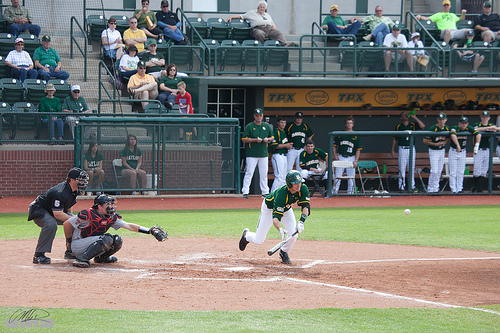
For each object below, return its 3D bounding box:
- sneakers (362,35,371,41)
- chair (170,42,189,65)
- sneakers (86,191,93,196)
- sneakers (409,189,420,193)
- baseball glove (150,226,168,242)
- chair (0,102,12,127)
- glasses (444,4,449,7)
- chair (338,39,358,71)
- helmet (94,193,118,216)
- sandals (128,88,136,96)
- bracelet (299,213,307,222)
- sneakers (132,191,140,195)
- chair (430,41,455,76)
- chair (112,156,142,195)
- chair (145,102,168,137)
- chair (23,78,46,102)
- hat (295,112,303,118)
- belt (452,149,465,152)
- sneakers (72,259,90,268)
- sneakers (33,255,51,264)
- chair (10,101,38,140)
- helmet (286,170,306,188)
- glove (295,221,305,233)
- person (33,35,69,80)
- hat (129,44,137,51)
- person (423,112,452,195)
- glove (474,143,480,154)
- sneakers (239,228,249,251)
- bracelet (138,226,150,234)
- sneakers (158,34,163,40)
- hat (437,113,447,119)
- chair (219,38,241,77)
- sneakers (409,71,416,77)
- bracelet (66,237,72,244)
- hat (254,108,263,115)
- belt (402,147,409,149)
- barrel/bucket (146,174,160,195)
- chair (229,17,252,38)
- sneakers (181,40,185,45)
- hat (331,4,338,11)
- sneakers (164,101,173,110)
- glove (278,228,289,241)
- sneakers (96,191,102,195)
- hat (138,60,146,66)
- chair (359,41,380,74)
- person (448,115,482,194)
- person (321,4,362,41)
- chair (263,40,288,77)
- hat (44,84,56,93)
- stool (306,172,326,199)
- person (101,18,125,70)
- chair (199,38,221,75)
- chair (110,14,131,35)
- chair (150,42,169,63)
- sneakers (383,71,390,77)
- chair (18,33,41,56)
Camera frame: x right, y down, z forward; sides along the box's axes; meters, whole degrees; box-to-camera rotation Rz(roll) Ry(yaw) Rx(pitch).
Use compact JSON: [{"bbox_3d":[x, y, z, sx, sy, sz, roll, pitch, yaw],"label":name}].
[{"bbox_3d":[4.160,-4.571,36.081,0.308,0.218,0.417,-1,9,-5],"label":"sneakers"},{"bbox_3d":[-2.296,-3.796,34.104,0.635,0.794,0.595,0,40,-5],"label":"chair"},{"bbox_3d":[-4.940,0.809,31.378,0.120,0.104,0.116,-2,-6,39],"label":"sneakers"},{"bbox_3d":[5.417,0.763,33.394,0.211,0.126,0.340,2,9,15],"label":"sneakers"},{"bbox_3d":[-2.216,1.615,24.970,0.410,0.182,0.307,39,-21,-13],"label":"baseball glove"},{"bbox_3d":[-7.498,-1.617,31.487,0.374,0.713,0.422,-3,10,-15],"label":"chair"},{"bbox_3d":[7.154,-5.889,37.211,0.221,0.104,0.274,1,9,4],"label":"glasses"},{"bbox_3d":[3.344,-3.820,34.920,0.973,1.168,0.917,1,20,4],"label":"chair"},{"bbox_3d":[-3.444,0.887,24.639,0.587,0.455,0.427,-2,2,1],"label":"helmet"},{"bbox_3d":[-3.777,-2.434,32.751,0.231,0.264,0.647,0,4,-5],"label":"sandals"},{"bbox_3d":[1.297,1.267,25.044,0.178,0.265,0.411,0,9,2],"label":"bracelet"},{"bbox_3d":[-3.548,0.805,31.774,0.211,0.075,0.141,-14,-34,3],"label":"sneakers"},{"bbox_3d":[6.667,-3.768,35.423,0.841,1.188,2.395,2,9,10],"label":"chair"},{"bbox_3d":[-3.622,0.163,31.338,0.878,1.260,0.976,-1,3,-12],"label":"chair"},{"bbox_3d":[-2.960,-1.546,32.230,0.922,0.978,1.159,-4,10,-21],"label":"chair"},{"bbox_3d":[-6.850,-2.405,32.417,0.842,0.916,0.717,1,-2,-29],"label":"chair"},{"bbox_3d":[1.588,-1.698,33.211,0.240,0.169,0.378,0,9,-1],"label":"hat"},{"bbox_3d":[6.709,-0.546,33.095,0.452,0.139,0.156,2,9,9],"label":"belt"},{"bbox_3d":[-4.060,2.332,24.696,0.475,0.151,0.232,8,17,6],"label":"sneakers"},{"bbox_3d":[-5.052,2.246,24.800,0.428,0.164,0.187,0,2,9],"label":"sneakers"},{"bbox_3d":[-6.977,-1.545,31.920,1.068,1.294,1.059,1,3,-25],"label":"chair"},{"bbox_3d":[1.064,0.269,24.893,0.463,0.311,0.338,12,9,27],"label":"helmet"},{"bbox_3d":[1.213,1.447,24.954,0.145,0.315,0.235,0,9,-1],"label":"glove"},{"bbox_3d":[-6.446,-3.464,33.058,1.004,1.478,1.200,-4,23,-29],"label":"person"},{"bbox_3d":[-3.839,-3.940,33.696,0.206,0.236,0.259,1,-7,-31],"label":"hat"},{"bbox_3d":[6.078,-0.452,33.286,0.727,2.536,0.559,4,11,22],"label":"person"},{"bbox_3d":[7.325,-0.603,33.037,0.123,0.098,0.395,-12,-37,10],"label":"glove"},{"bbox_3d":[-0.182,1.825,25.707,0.210,0.560,0.233,1,22,-15],"label":"sneakers"},{"bbox_3d":[-2.578,1.527,24.949,0.267,0.141,0.107,13,-8,6],"label":"bracelet"},{"bbox_3d":[-3.032,-4.461,34.941,0.106,0.170,0.171,5,0,21],"label":"sneakers"},{"bbox_3d":[6.257,-1.664,33.358,0.256,0.183,0.325,2,3,14],"label":"hat"},{"bbox_3d":[-0.652,-3.818,34.464,0.871,1.018,1.075,0,1,-4],"label":"chair"},{"bbox_3d":[5.484,-3.119,34.503,0.107,0.186,0.272,2,15,0],"label":"sneakers"},{"bbox_3d":[-4.426,1.786,24.998,0.143,0.099,0.135,3,5,0],"label":"bracelet"},{"bbox_3d":[0.271,-1.747,32.088,0.216,0.163,0.286,1,-3,-2],"label":"hat"},{"bbox_3d":[5.075,-0.624,33.417,0.219,0.101,0.057,0,10,0],"label":"belt"},{"bbox_3d":[-3.081,0.557,31.822,0.583,0.738,0.557,0,1,0],"label":"barrel/bucket"},{"bbox_3d":[-0.372,-4.871,36.099,0.838,0.922,0.839,0,1,-12],"label":"chair"},{"bbox_3d":[-2.302,-4.295,35.178,0.090,0.238,0.175,-6,4,1],"label":"sneakers"},{"bbox_3d":[3.018,-5.701,36.475,0.251,0.172,0.350,1,4,3],"label":"hat"},{"bbox_3d":[-2.587,-1.941,32.658,0.147,0.333,0.224,-9,37,31],"label":"sneakers"},{"bbox_3d":[0.766,1.636,24.968,0.260,0.332,0.123,-22,-8,-44],"label":"glove"},{"bbox_3d":[-4.531,0.773,30.727,0.150,0.099,0.143,2,-1,-14],"label":"sneakers"},{"bbox_3d":[-3.482,-3.307,32.811,0.238,0.172,0.275,-1,9,-10],"label":"hat"},{"bbox_3d":[4.159,-3.783,34.940,1.046,1.208,0.986,0,6,4],"label":"chair"},{"bbox_3d":[6.922,-0.364,33.188,0.938,2.426,0.710,1,10,7],"label":"person"},{"bbox_3d":[3.322,-5.209,36.350,1.097,0.953,1.373,-3,7,-28],"label":"person"},{"bbox_3d":[0.843,-3.742,34.811,1.098,1.269,0.983,-2,10,-6],"label":"chair"},{"bbox_3d":[-6.191,-2.462,31.709,0.290,0.138,0.235,0,3,27],"label":"hat"},{"bbox_3d":[2.179,0.573,33.081,0.813,0.935,0.633,2,1,3],"label":"stool"},{"bbox_3d":[-4.621,-4.270,34.249,0.704,1.407,0.861,-1,10,-8],"label":"person"},{"bbox_3d":[-1.344,-3.700,34.447,0.690,1.150,1.997,0,9,-2],"label":"chair"},{"bbox_3d":[-4.516,-4.986,35.629,0.740,0.825,0.766,0,1,-19],"label":"chair"},{"bbox_3d":[-3.045,-3.883,34.433,0.513,0.468,0.575,1,-36,-8],"label":"chair"},{"bbox_3d":[4.602,-3.155,34.463,0.164,0.178,0.417,2,9,4],"label":"sneakers"},{"bbox_3d":[-7.222,-4.098,33.733,0.694,0.771,0.760,-1,-5,-26],"label":"chair"}]
